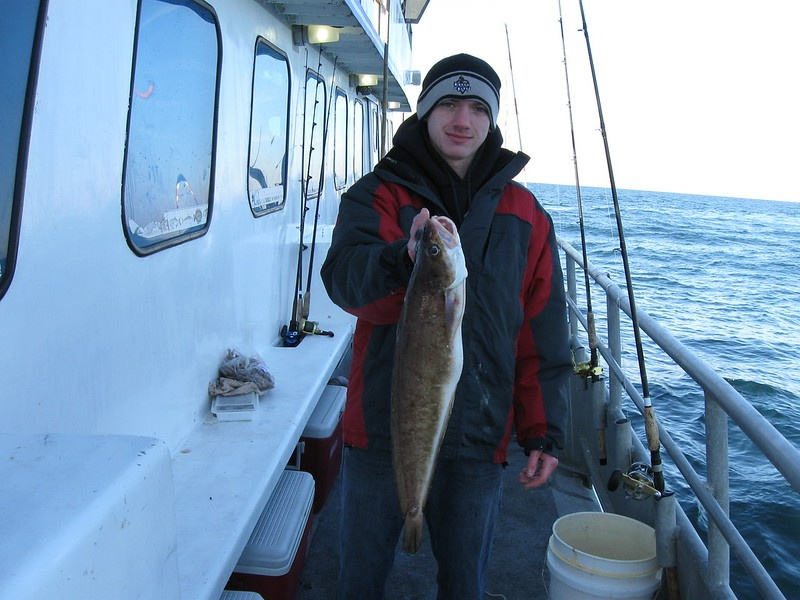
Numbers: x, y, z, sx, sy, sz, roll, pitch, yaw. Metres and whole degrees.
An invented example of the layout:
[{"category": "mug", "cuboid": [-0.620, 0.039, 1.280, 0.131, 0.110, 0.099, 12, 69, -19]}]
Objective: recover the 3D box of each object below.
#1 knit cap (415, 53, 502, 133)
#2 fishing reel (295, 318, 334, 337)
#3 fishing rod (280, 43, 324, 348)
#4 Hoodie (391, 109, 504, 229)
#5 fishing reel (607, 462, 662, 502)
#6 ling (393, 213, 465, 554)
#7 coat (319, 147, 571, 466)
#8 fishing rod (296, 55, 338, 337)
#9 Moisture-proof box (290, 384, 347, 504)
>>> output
[{"category": "knit cap", "cuboid": [0.248, -0.810, 2.412, 0.264, 0.268, 0.301, 4, 7, 3]}, {"category": "fishing reel", "cuboid": [-0.689, 0.243, 4.759, 0.269, 0.132, 0.136, 15, 38, -36]}, {"category": "fishing rod", "cuboid": [-0.793, -0.829, 5.108, 0.308, 2.541, 0.180, 5, -8, -14]}, {"category": "Hoodie", "cuboid": [0.206, -0.558, 2.477, 0.343, 0.564, 0.209, -1, 16, -11]}, {"category": "fishing reel", "cuboid": [1.145, 0.892, 2.900, 0.205, 0.172, 0.109, -6, 16, 28]}, {"category": "ling", "cuboid": [0.097, 0.333, 2.096, 0.249, 1.247, 0.230, 1, 6, -2]}, {"category": "coat", "cuboid": [0.245, -0.014, 2.588, 0.960, 1.532, 0.875, 6, -7, 3]}, {"category": "fishing rod", "cuboid": [-0.753, -0.964, 5.200, 0.291, 2.581, 0.185, 2, -8, 10]}, {"category": "Moisture-proof box", "cuboid": [-0.508, 0.883, 3.598, 0.314, 0.682, 0.657, 7, 21, 3]}]
